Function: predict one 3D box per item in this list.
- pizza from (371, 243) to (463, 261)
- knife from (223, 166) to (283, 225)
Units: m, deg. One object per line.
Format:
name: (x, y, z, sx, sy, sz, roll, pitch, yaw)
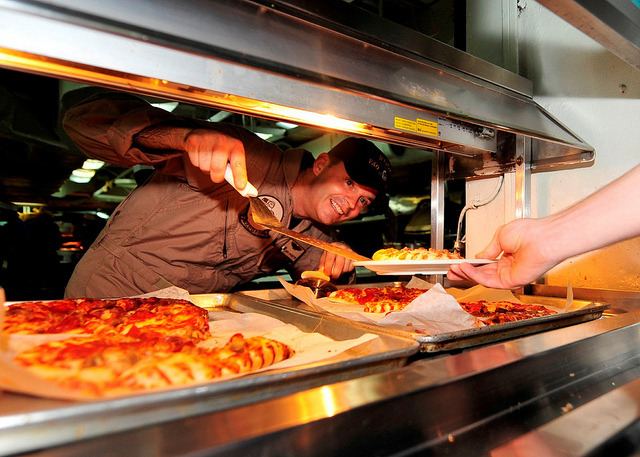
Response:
pizza: (0.606, 0.135, 2.648, 0.393, 0.080, 0.294, -1, -7, 31)
knife: (-0.279, -0.107, 1.901, 0.064, 0.322, 0.174, -32, 29, 28)
